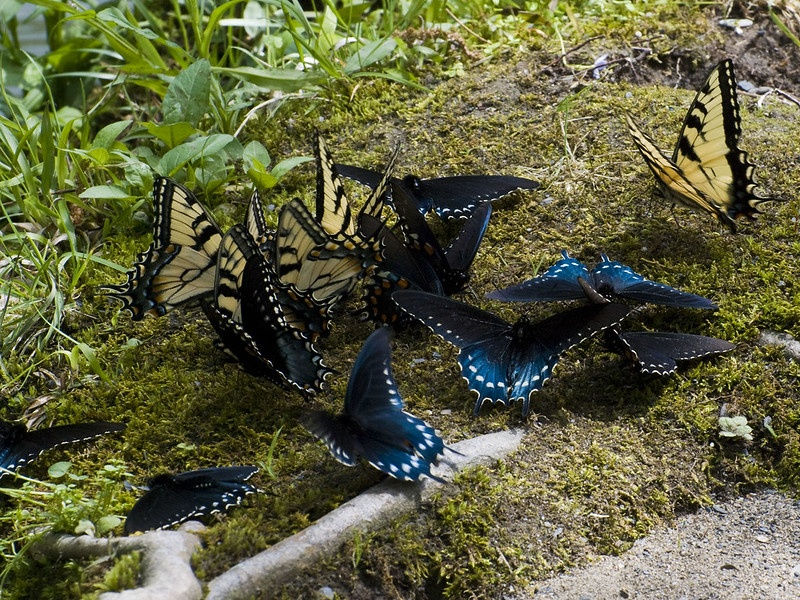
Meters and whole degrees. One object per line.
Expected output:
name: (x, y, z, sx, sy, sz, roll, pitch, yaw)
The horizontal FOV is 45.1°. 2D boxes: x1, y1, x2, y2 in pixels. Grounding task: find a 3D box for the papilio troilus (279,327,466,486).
papilio troilus: (-0.131, 0.552, 4.584, 0.578, 0.587, 0.529, -25, 38, -22)
